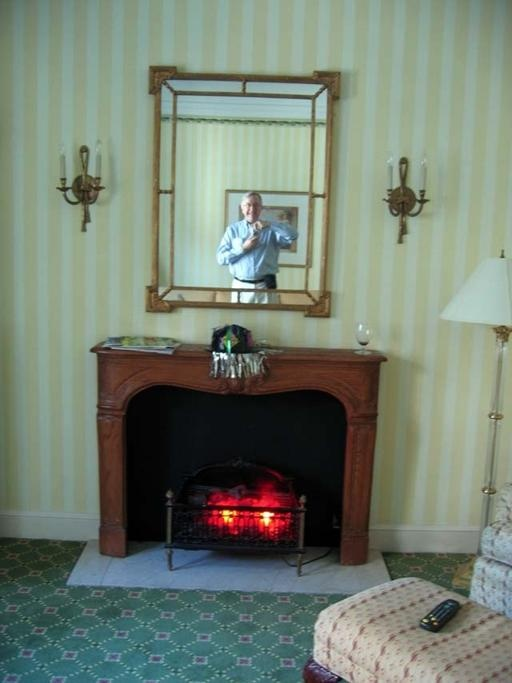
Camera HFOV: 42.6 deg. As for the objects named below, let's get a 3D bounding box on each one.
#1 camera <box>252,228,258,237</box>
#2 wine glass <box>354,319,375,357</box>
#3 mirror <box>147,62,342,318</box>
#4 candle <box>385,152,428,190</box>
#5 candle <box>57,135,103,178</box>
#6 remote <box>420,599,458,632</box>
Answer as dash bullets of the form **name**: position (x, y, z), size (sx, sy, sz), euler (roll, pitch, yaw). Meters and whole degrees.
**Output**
- **camera**: position (-0.010, -0.551, 3.355), size (0.038, 0.061, 0.037), euler (0, 11, -1)
- **wine glass**: position (0.550, -0.017, 3.348), size (0.090, 0.159, 0.273), euler (4, 8, 9)
- **mirror**: position (-0.070, -0.821, 3.316), size (1.335, 1.516, 0.118), euler (1, 13, -3)
- **candle**: position (0.751, -0.835, 3.290), size (0.204, 0.174, 0.174), euler (4, 9, 12)
- **candle**: position (-0.886, -0.935, 3.314), size (0.248, 0.223, 0.052), euler (4, 12, 9)
- **remote**: position (0.593, 0.865, 2.095), size (0.058, 0.032, 0.127), euler (13, 20, 43)
